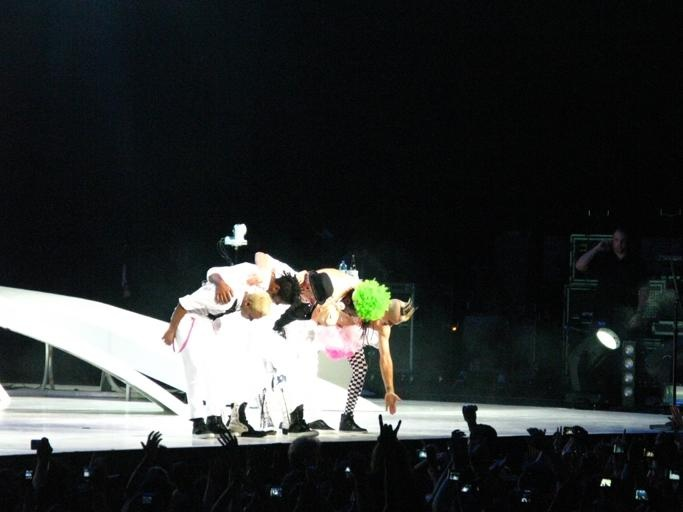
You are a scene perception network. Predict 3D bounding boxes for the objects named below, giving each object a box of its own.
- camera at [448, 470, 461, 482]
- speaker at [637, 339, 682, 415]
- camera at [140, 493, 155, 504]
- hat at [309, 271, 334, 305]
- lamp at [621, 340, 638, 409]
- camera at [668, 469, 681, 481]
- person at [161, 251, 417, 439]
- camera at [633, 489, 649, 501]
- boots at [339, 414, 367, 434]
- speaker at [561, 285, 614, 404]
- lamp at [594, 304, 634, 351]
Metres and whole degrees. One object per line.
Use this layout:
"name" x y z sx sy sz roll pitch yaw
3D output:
"camera" 0.704 1.379 4.779 0.076 0.053 0.041 9 -11 -34
"speaker" 3.727 1.366 8.909 0.540 0.841 0.717 -3 -8 20
"camera" -1.113 1.394 4.369 0.054 0.054 0.058 3 19 5
"hat" -0.172 0.257 6.351 0.095 0.262 0.186 -2 14 13
"lamp" 3.404 1.392 9.044 0.178 0.785 0.091 -3 -8 19
"camera" 2.247 1.481 5.158 0.067 0.069 0.052 -1 -8 8
"person" -0.445 0.762 6.860 1.578 1.612 0.534 6 -46 -22
"camera" 1.874 1.495 4.774 0.063 0.061 0.059 -4 -9 30
"boots" 0.117 1.463 6.718 0.303 0.195 0.109 1 -2 -2
"speaker" 3.251 1.088 10.095 0.578 1.711 0.525 3 7 15
"lamp" 3.395 0.857 9.525 0.539 0.557 0.546 -5 -9 31
